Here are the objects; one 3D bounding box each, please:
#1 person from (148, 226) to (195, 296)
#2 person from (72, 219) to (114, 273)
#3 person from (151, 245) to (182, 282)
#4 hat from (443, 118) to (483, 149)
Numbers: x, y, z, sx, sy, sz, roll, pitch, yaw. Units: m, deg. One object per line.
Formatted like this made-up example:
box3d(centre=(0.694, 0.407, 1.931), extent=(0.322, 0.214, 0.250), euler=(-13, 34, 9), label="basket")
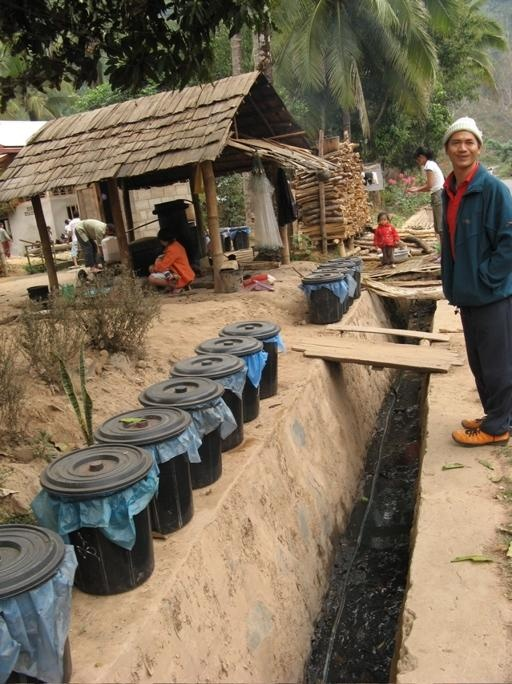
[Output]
box3d(centre=(-1.647, -1.603, 10.502), extent=(0.908, 1.154, 0.854), euler=(-3, 19, 7), label="person")
box3d(centre=(-4.187, -2.614, 13.959), extent=(0.988, 1.082, 0.857), euler=(-7, 18, -9), label="person")
box3d(centre=(-1.711, -1.562, 10.540), extent=(0.639, 0.742, 0.573), euler=(8, 9, 6), label="person")
box3d(centre=(1.472, -1.515, 3.793), extent=(0.277, 0.206, 0.275), euler=(9, 21, 20), label="hat")
